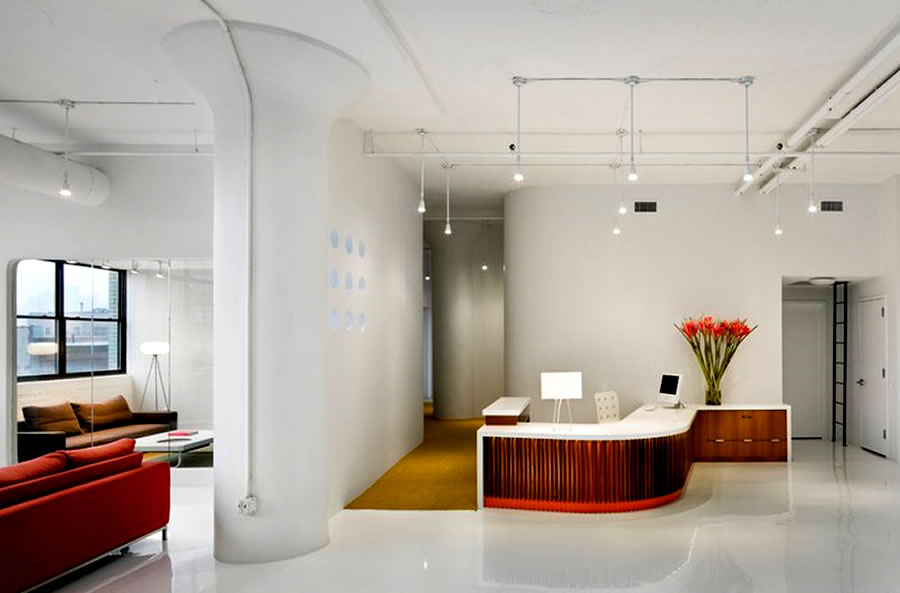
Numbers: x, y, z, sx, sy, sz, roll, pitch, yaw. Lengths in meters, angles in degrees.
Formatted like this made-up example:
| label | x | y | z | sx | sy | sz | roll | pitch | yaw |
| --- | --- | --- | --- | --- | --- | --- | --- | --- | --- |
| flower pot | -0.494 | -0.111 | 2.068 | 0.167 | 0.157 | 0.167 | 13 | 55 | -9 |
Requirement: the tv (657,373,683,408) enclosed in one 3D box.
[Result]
| label | x | y | z | sx | sy | sz | roll | pitch | yaw |
| --- | --- | --- | --- | --- | --- | --- | --- | --- | --- |
| tv | 3.674 | 1.540 | 10.999 | 0.335 | 0.526 | 0.448 | 1 | 6 | 15 |

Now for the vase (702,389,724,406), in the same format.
| label | x | y | z | sx | sy | sz | roll | pitch | yaw |
| --- | --- | --- | --- | --- | --- | --- | --- | --- | --- |
| vase | 4.563 | 1.722 | 11.346 | 0.266 | 0.264 | 0.268 | -1 | -6 | 5 |

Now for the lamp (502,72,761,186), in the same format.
| label | x | y | z | sx | sy | sz | roll | pitch | yaw |
| --- | --- | --- | --- | --- | --- | --- | --- | --- | --- |
| lamp | 2.287 | -2.107 | 8.252 | 3.057 | 1.393 | 0.321 | 1 | -2 | 2 |

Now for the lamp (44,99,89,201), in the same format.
| label | x | y | z | sx | sy | sz | roll | pitch | yaw |
| --- | --- | --- | --- | --- | --- | --- | --- | --- | --- |
| lamp | -5.207 | -1.954 | 8.931 | 0.281 | 1.212 | 1.378 | -4 | 6 | -30 |
